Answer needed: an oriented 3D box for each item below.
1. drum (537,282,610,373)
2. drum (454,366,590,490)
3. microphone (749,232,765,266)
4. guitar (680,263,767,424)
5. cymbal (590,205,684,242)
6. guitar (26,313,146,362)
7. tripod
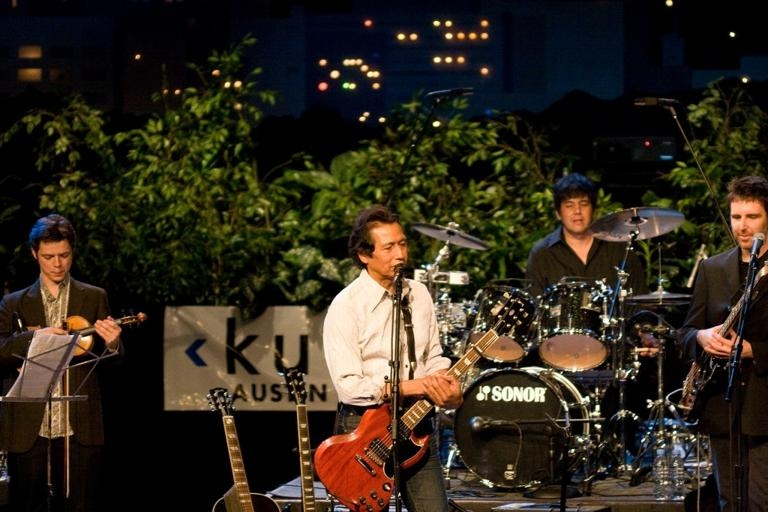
[{"bbox_3d":[1.809,0.643,12.865,0.577,0.566,0.570,23,-36,-23],"label":"drum"},{"bbox_3d":[1.411,1.564,13.082,1.503,1.402,1.122,4,0,29],"label":"drum"},{"bbox_3d":[3.164,-0.080,11.478,0.105,0.264,0.376,-1,-3,15],"label":"microphone"},{"bbox_3d":[2.888,0.678,11.585,0.768,1.300,0.281,-2,-3,42],"label":"guitar"},{"bbox_3d":[2.432,-0.333,13.056,0.523,0.113,0.507,-12,-34,22],"label":"cymbal"},{"bbox_3d":[-2.633,0.669,12.105,1.040,0.398,0.196,-6,0,-11],"label":"guitar"},{"bbox_3d":[2.730,1.301,13.108,0.690,1.525,0.633,0,-3,0],"label":"tripod"}]
